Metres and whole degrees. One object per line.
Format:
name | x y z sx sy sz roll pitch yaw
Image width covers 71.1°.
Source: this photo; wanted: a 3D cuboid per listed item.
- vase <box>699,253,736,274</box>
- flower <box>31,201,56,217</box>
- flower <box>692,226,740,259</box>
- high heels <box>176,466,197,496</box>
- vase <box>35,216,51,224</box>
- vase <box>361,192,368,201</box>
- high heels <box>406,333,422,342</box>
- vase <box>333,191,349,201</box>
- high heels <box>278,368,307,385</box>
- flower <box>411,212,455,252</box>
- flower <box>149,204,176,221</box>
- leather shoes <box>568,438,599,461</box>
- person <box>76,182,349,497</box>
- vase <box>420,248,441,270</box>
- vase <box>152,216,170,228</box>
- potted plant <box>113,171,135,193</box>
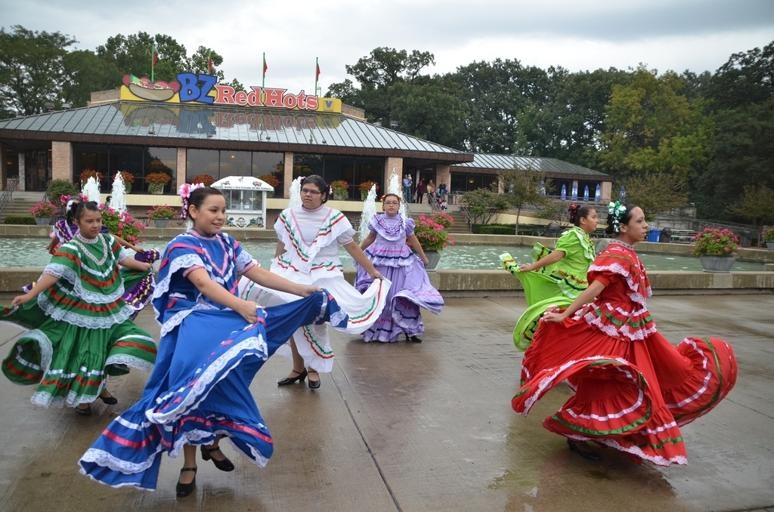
vase | 8.066 0.193 13.216 0.516 0.359 0.706 1 -5 20
flower | -15.126 -2.014 23.889 1.054 0.697 1.058 6 0 -35
flower | 8.069 -0.322 13.386 0.899 0.746 0.902 6 6 4
high heels | -1.514 1.726 4.094 0.089 0.085 0.261 2 1 -10
vase | -15.221 -1.550 24.015 0.434 0.264 0.424 -1 -5 18
vase | -1.492 -3.928 35.987 0.530 0.571 0.571 2 -5 -3
high heels | 0.392 1.205 7.839 0.234 0.159 0.092 -5 -5 2
vase | -3.051 -3.970 35.601 0.646 0.445 0.622 1 13 -11
high heels | -1.038 1.399 6.124 0.352 0.143 0.118 0 -10 -22
flower | 0.943 -0.370 10.779 0.598 0.568 0.539 6 -1 18
flower | -11.207 -2.159 27.023 1.429 0.773 1.431 4 -1 -19
leather shoes | 1.726 1.697 4.741 0.113 0.134 0.332 0 -9 -26
person | -1.435 0.613 4.324 1.221 2.294 1.485 3 10 10
vase | 0.864 0.075 10.725 0.428 0.392 0.419 1 -3 -2
vase | -10.575 -1.546 25.469 0.507 0.356 0.659 4 -2 -10
potted plant | -15.913 -4.757 33.322 1.609 1.578 1.631 -1 -1 -26
